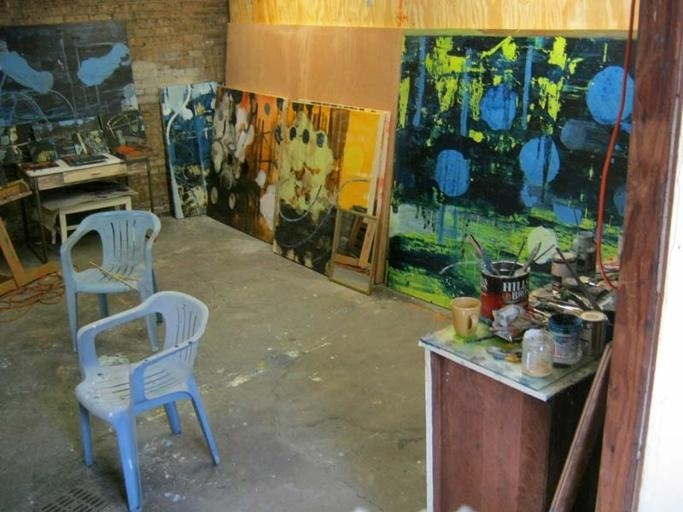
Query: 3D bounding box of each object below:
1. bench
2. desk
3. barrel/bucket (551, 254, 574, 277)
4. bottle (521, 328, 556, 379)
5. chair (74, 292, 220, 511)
[{"bbox_3d":[-3.240,-0.708,6.433,1.093,0.594,0.823,-17,31,-34],"label":"bench"},{"bbox_3d":[-3.239,-0.881,6.674,1.915,1.409,1.123,-15,25,-35],"label":"desk"},{"bbox_3d":[1.225,0.064,2.988,0.119,0.131,0.120,-1,18,0],"label":"barrel/bucket"},{"bbox_3d":[0.848,0.425,2.266,0.135,0.200,0.141,-1,17,0],"label":"bottle"},{"bbox_3d":[-1.228,0.811,3.351,0.888,1.034,0.915,-14,24,-30],"label":"chair"}]
